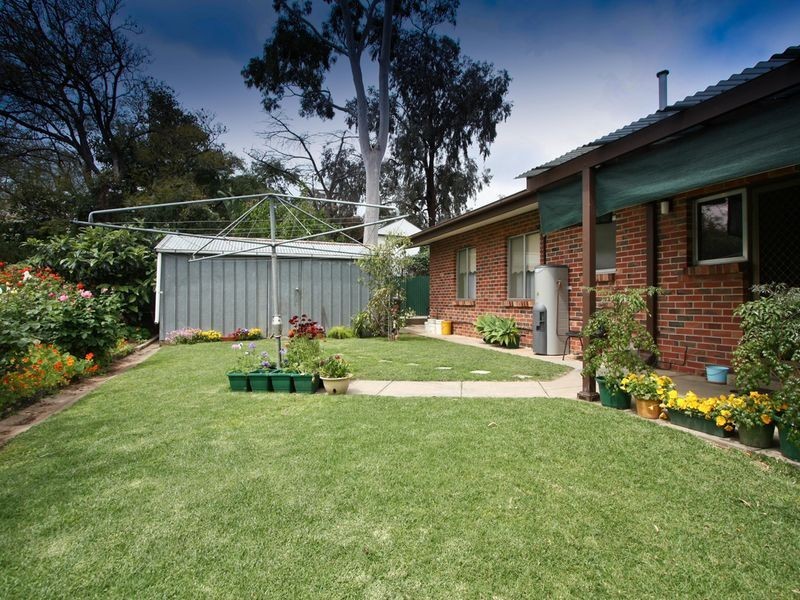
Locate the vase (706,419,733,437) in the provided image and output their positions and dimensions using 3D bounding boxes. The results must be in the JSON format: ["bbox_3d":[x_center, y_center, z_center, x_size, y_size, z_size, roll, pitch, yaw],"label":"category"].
[{"bbox_3d":[3.507,1.424,6.058,0.131,0.195,0.240,-4,4,-33],"label":"vase"}]

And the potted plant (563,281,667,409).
[{"bbox_3d":[2.938,0.560,7.643,0.887,1.459,1.794,-1,-1,19],"label":"potted plant"}]

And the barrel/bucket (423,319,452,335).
[{"bbox_3d":[1.095,0.745,15.768,0.479,0.401,1.357,-1,-1,-19],"label":"barrel/bucket"}]

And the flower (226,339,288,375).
[{"bbox_3d":[-2.355,0.990,9.025,0.766,0.422,1.240,3,1,-5],"label":"flower"}]

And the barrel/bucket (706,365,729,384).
[{"bbox_3d":[4.456,1.042,7.780,0.246,0.211,0.236,0,1,0],"label":"barrel/bucket"}]

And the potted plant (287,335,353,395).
[{"bbox_3d":[-1.164,0.935,8.128,0.611,0.592,1.223,0,4,-34],"label":"potted plant"}]
